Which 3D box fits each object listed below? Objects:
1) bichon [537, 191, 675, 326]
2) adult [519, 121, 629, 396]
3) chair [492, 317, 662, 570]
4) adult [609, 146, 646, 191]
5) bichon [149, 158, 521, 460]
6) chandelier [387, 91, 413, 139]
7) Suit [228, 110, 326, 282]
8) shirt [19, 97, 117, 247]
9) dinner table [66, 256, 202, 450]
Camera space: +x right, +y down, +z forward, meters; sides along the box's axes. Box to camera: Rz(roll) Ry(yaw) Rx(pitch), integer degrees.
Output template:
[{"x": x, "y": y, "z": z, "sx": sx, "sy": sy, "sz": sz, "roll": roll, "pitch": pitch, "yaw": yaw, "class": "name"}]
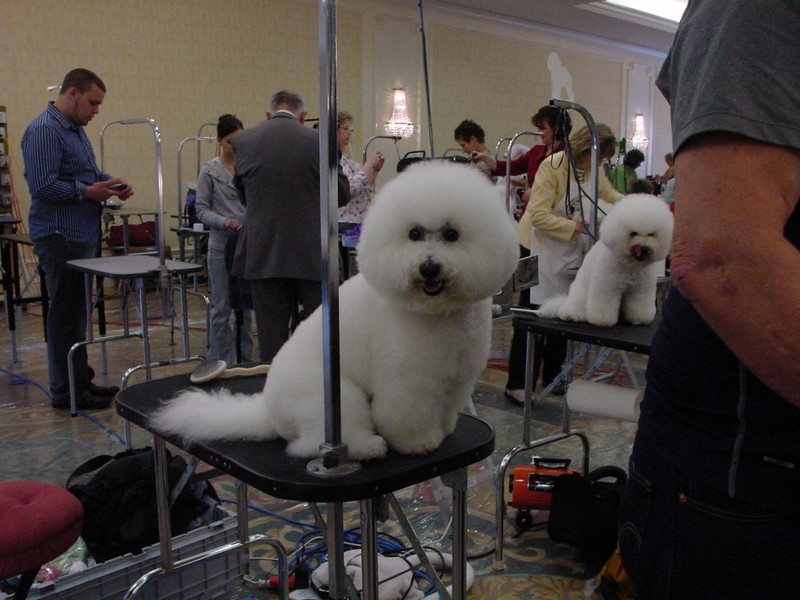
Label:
[{"x": 0.893, "y": -0.172, "z": 3.185, "sx": 0.396, "sy": 0.586, "sz": 0.689, "roll": -6, "pitch": 12, "yaw": -17, "class": "bichon"}, {"x": 1.042, "y": -0.264, "z": 4.382, "sx": 0.682, "sy": 1.634, "sz": 0.672, "roll": 6, "pitch": 19, "yaw": 11, "class": "adult"}, {"x": 0.696, "y": 0.592, "z": 2.933, "sx": 0.878, "sy": 0.854, "sz": 0.635, "roll": -4, "pitch": 5, "yaw": -42, "class": "chair"}, {"x": 2.913, "y": -1.593, "z": 9.236, "sx": 0.408, "sy": 0.672, "sz": 0.445, "roll": 14, "pitch": 10, "yaw": 36, "class": "adult"}, {"x": -0.163, "y": 0.032, "z": 1.784, "sx": 0.838, "sy": 0.645, "sz": 0.507, "roll": 1, "pitch": 7, "yaw": 10, "class": "bichon"}, {"x": 0.038, "y": -2.704, "z": 10.383, "sx": 0.293, "sy": 0.660, "sz": 0.562, "roll": 6, "pitch": 16, "yaw": 36, "class": "chandelier"}, {"x": -0.691, "y": -0.467, "z": 4.093, "sx": 0.498, "sy": 1.393, "sz": 0.477, "roll": -3, "pitch": 30, "yaw": -14, "class": "Suit"}, {"x": -2.008, "y": -0.737, "z": 4.339, "sx": 0.456, "sy": 0.871, "sz": 0.365, "roll": -13, "pitch": 16, "yaw": -37, "class": "shirt"}, {"x": -1.696, "y": 0.141, "z": 4.198, "sx": 0.494, "sy": 0.706, "sz": 0.603, "roll": 16, "pitch": 4, "yaw": -32, "class": "dinner table"}]
